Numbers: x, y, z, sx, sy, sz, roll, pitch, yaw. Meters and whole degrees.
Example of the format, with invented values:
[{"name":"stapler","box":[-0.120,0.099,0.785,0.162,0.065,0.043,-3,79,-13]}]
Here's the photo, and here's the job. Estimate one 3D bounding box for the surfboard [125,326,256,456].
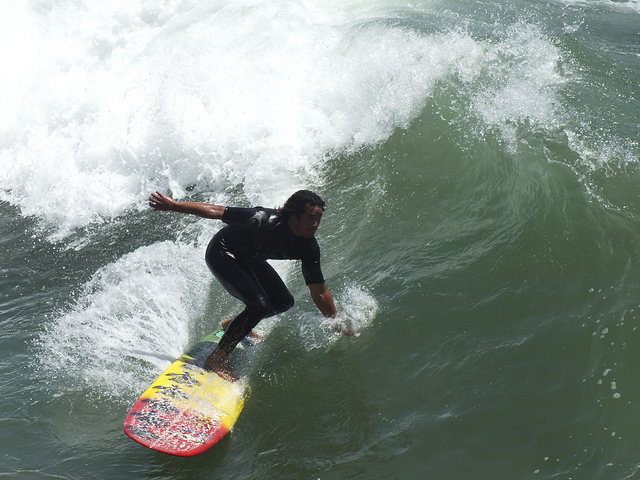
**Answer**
[{"name":"surfboard","box":[-1.614,2.124,10.530,1.230,0.451,3.594,23,18,4]}]
